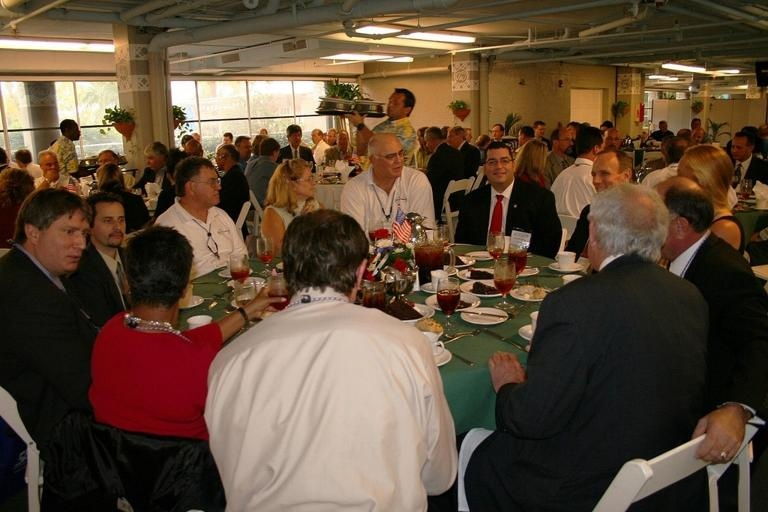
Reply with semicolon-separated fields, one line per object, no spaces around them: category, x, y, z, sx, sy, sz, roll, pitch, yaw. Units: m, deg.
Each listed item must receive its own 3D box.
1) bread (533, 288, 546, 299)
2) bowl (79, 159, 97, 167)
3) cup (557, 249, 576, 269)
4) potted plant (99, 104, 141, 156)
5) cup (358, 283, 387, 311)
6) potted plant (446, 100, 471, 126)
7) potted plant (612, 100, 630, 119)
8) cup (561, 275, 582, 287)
bread;0.819;0.191;2.876;0.056;0.022;0.057;-1;14;12
bowl;-4.925;-1.594;9.052;0.258;0.125;0.351;-1;5;-2
cup;1.085;0.021;3.239;0.092;0.078;0.110;-2;4;-1
potted plant;-4.357;-2.225;9.199;0.494;0.564;0.464;-1;20;-1
cup;-0.076;0.173;2.413;0.140;0.129;0.089;3;8;28
potted plant;1.739;-3.577;13.247;0.649;0.614;0.544;-3;3;-16
potted plant;7.787;-4.977;18.074;0.514;0.521;0.538;-1;4;-8
cup;0.848;0.107;2.474;0.063;0.026;0.062;-3;2;0
